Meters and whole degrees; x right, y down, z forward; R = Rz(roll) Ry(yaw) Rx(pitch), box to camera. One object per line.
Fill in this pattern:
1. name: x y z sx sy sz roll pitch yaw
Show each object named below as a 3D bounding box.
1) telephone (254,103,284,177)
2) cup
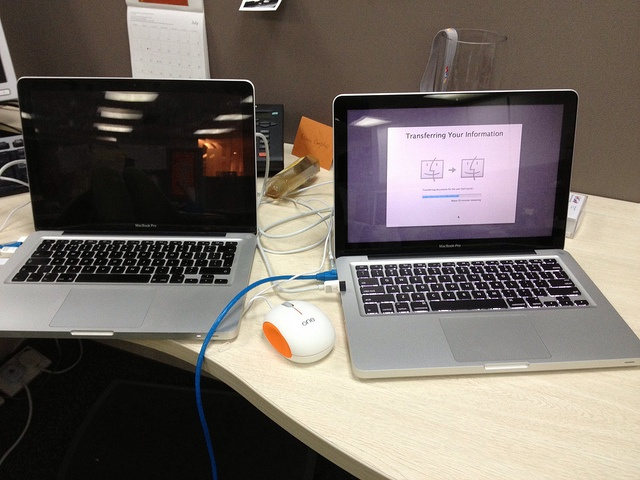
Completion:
1. telephone: -0.132 -0.271 1.379 0.094 0.046 0.180 -1 69 -2
2. cup: 0.297 -0.401 1.208 0.207 0.157 0.153 3 27 2
